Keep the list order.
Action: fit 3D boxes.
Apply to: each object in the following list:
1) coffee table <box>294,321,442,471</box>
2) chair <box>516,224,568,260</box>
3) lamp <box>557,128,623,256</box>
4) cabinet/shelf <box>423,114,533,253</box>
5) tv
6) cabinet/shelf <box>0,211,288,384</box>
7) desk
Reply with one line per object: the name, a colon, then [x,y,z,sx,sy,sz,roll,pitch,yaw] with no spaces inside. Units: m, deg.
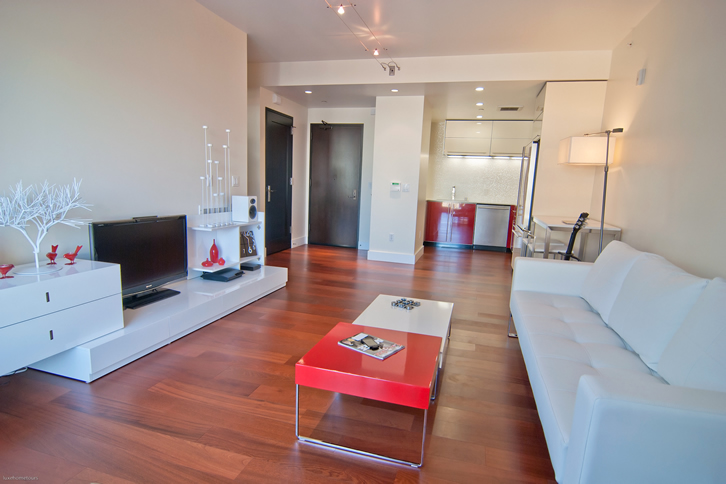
coffee table: [-0.004,1.059,3.394,1.066,0.654,0.747,6,13,10]
chair: [2.278,0.028,5.784,0.441,0.529,0.795,0,13,13]
lamp: [2.593,-0.595,5.357,0.576,1.484,1.007,10,15,26]
cabinet/shelf: [2.131,-1.101,8.760,1.759,2.474,0.678,7,14,16]
tv: [-2.088,0.176,4.178,0.231,0.642,0.813,4,9,18]
cabinet/shelf: [-1.922,0.368,4.272,0.612,1.153,2.613,11,14,27]
desk: [2.476,-0.061,5.521,0.565,0.685,0.720,0,13,8]
